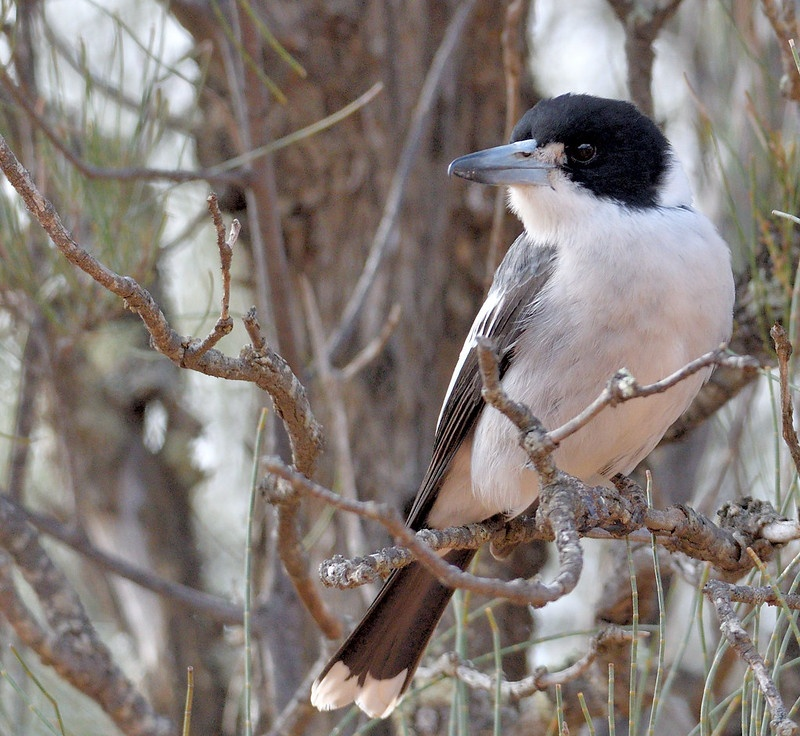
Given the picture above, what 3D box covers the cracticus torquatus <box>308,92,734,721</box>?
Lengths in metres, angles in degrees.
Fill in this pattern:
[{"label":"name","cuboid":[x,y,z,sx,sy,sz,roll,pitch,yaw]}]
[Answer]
[{"label":"cracticus torquatus","cuboid":[0.414,0.115,3.936,1.032,1.703,0.743,4,17,-8]}]
